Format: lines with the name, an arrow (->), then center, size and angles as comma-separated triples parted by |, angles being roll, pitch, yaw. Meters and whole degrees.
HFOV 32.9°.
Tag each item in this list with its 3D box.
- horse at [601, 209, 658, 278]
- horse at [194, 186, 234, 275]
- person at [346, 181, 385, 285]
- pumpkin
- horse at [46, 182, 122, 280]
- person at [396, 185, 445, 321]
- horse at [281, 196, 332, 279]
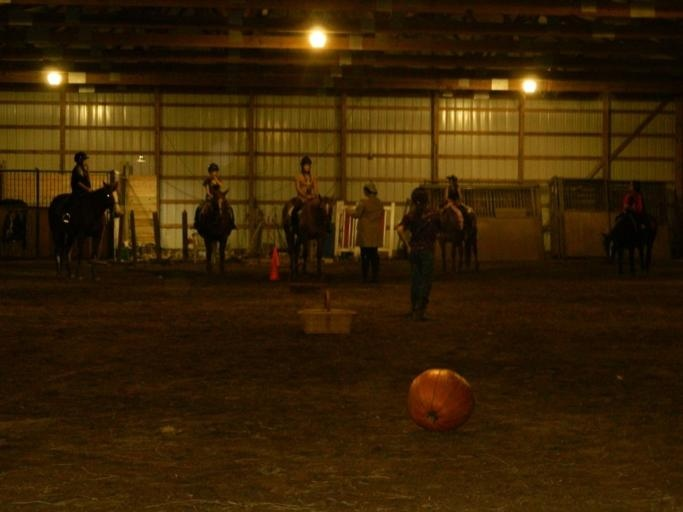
horse -> 7.772, -0.418, 30.890 | 1.285, 2.039, 5.122 | 2, 10, 14
horse -> -2.934, -0.567, 26.580 | 0.790, 2.067, 1.120 | -2, 8, -16
person -> 0.576, -0.493, 24.620 | 0.708, 2.163, 0.767 | 0, 0, -1
pumpkin -> 1.173, 1.656, 13.496 | 0.663, 0.698, 0.677 | -25, 9, 41
horse -> -5.777, -0.256, 25.854 | 1.410, 2.600, 1.374 | 0, 8, -26
person -> 1.309, -0.005, 19.293 | 0.661, 2.210, 1.304 | 1, 8, 4
horse -> -0.772, -0.428, 26.737 | 0.630, 1.775, 2.523 | -2, 0, -24
